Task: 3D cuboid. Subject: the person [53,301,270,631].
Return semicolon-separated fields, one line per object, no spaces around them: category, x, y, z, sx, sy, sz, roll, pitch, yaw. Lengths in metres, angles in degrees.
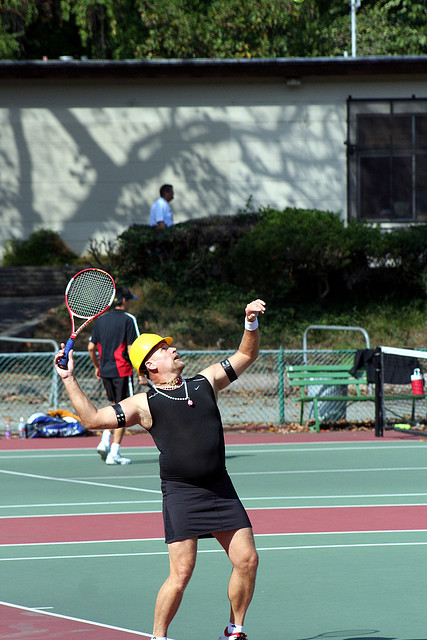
person;-0.236;0.766;5.085;1.000;1.682;0.730;0;7;2

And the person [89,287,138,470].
person;-1.174;0.660;11.408;0.693;2.010;0.639;-1;-6;18

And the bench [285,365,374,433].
bench;1.900;1.181;14.684;1.471;0.976;0.580;0;4;-26

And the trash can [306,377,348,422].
trash can;1.733;1.241;14.779;0.631;0.729;0.755;1;7;6

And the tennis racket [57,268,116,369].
tennis racket;-1.033;-0.039;7.443;0.328;0.816;0.065;18;-32;1

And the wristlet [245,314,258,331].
wristlet;0.210;0.020;5.308;0.064;0.063;0.064;5;20;8
